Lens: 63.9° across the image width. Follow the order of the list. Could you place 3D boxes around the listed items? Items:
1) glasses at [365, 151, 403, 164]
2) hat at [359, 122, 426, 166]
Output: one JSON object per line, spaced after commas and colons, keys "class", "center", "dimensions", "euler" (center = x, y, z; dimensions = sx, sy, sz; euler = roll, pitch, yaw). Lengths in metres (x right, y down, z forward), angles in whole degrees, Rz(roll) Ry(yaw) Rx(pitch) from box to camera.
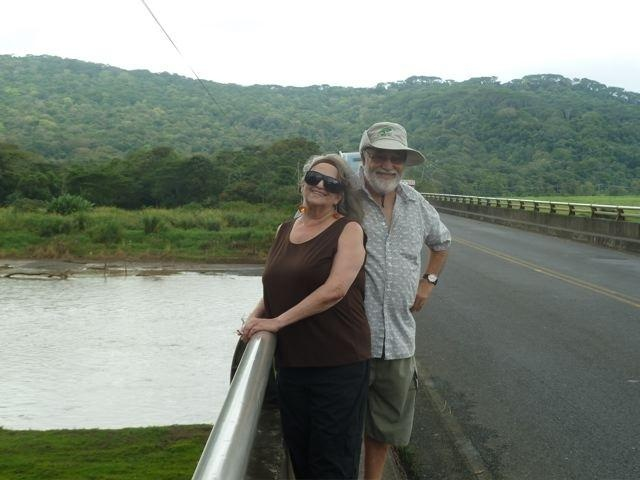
{"class": "glasses", "center": [0.479, -0.612, 3.766], "dimensions": [0.165, 0.058, 0.125], "euler": [5, 5, 13]}
{"class": "hat", "center": [0.496, -0.755, 3.873], "dimensions": [0.330, 0.203, 0.400], "euler": [16, -9, -37]}
